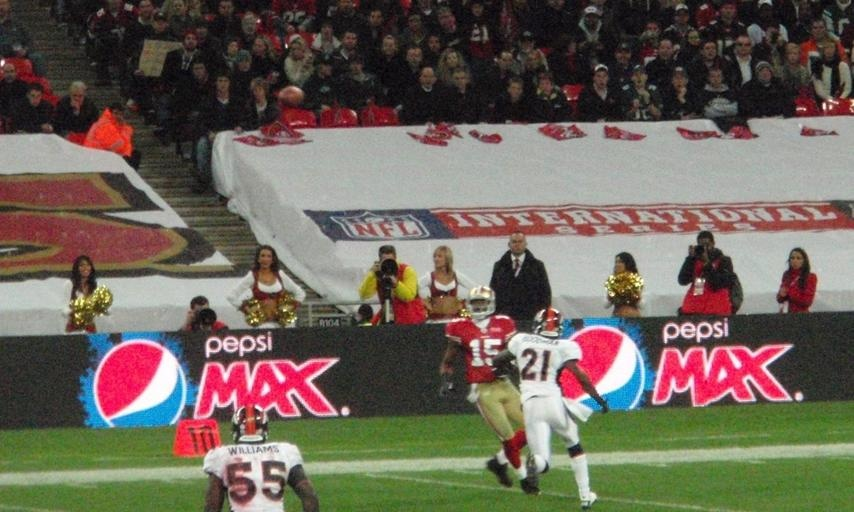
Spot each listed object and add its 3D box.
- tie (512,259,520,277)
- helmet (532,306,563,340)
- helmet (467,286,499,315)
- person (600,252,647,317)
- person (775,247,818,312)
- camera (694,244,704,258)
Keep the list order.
[{"bbox_3d":[1.946,0.272,49.505,0.235,0.307,0.078,5,-8,17],"label":"tie"},{"bbox_3d":[2.400,1.405,45.067,0.505,0.581,0.584,6,-7,-5],"label":"helmet"},{"bbox_3d":[1.093,1.000,45.787,0.492,0.530,0.642,0,-7,11],"label":"helmet"},{"bbox_3d":[4.435,0.664,49.723,0.811,1.476,0.613,1,1,9],"label":"person"},{"bbox_3d":[8.496,0.587,50.670,0.883,1.473,1.761,-2,2,8],"label":"person"},{"bbox_3d":[6.122,-0.086,49.791,0.343,0.266,0.204,-2,2,21],"label":"camera"}]
